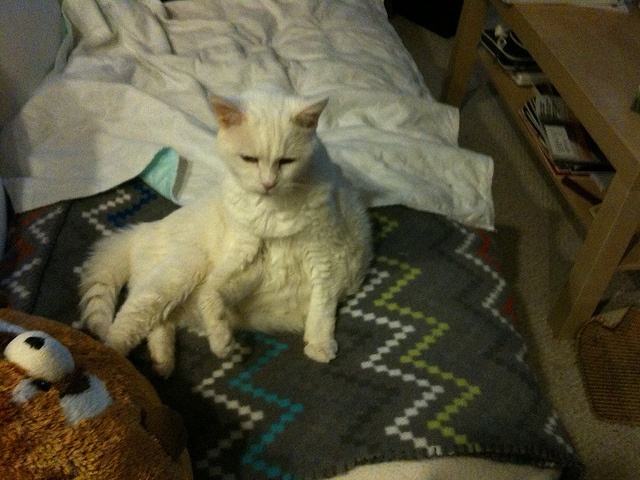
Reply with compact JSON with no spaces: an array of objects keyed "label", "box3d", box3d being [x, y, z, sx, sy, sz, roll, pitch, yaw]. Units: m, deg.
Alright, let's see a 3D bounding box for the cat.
[{"label":"cat","box3d":[-0.276,0.015,1.844,0.668,0.706,0.394,-4,22,-13]}]
